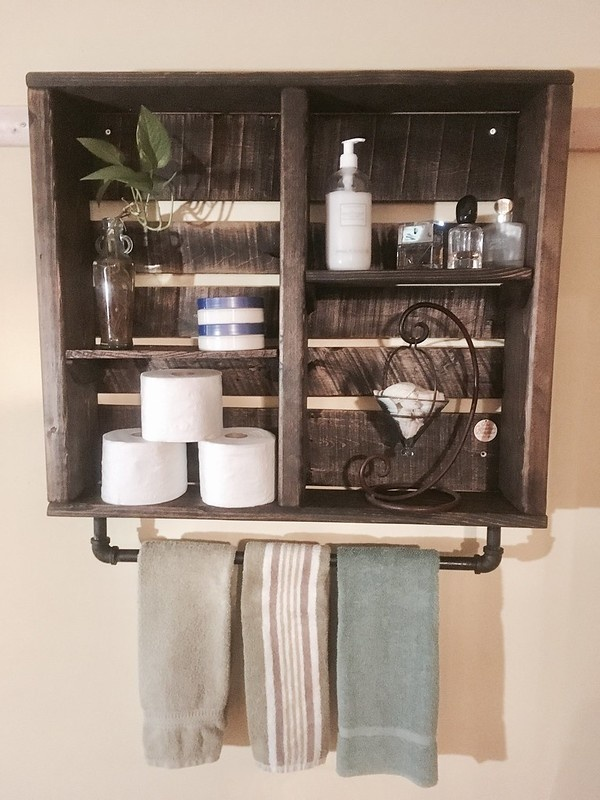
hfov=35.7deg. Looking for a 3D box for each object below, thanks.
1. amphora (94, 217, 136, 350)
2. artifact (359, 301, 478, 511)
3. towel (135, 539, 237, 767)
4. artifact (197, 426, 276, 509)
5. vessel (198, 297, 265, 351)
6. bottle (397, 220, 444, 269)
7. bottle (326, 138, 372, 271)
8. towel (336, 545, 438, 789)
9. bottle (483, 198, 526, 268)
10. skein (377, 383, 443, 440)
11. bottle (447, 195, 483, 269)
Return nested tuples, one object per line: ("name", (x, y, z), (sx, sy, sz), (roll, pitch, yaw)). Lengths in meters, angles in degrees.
("amphora", (-0.274, -0.172, 1.375), (0.056, 0.189, 0.018), (-1, 6, -13))
("artifact", (0.173, 0.005, 1.374), (0.181, 0.298, 0.170), (2, 6, 9))
("towel", (-0.162, 0.388, 1.415), (0.170, 0.329, 0.059), (-7, -12, 22))
("artifact", (-0.089, 0.104, 1.342), (0.106, 0.098, 0.048), (0, 6, -9))
("vessel", (-0.102, -0.112, 1.374), (0.106, 0.068, 0.100), (-4, 6, -26))
("bottle", (0.175, -0.222, 1.333), (0.069, 0.058, 0.039), (10, 26, 31))
("bottle", (0.069, -0.271, 1.294), (0.062, 0.183, 0.086), (1, 6, 0))
("towel", (0.131, 0.388, 1.410), (0.150, 0.340, 0.159), (1, 6, 2))
("bottle", (0.292, -0.237, 1.334), (0.056, 0.102, 0.167), (2, 6, 9))
("skein", (0.151, 0.024, 1.338), (0.059, 0.044, 0.056), (-9, -12, 6))
("bottle", (0.235, -0.239, 1.314), (0.051, 0.106, 0.063), (2, 6, 9))
